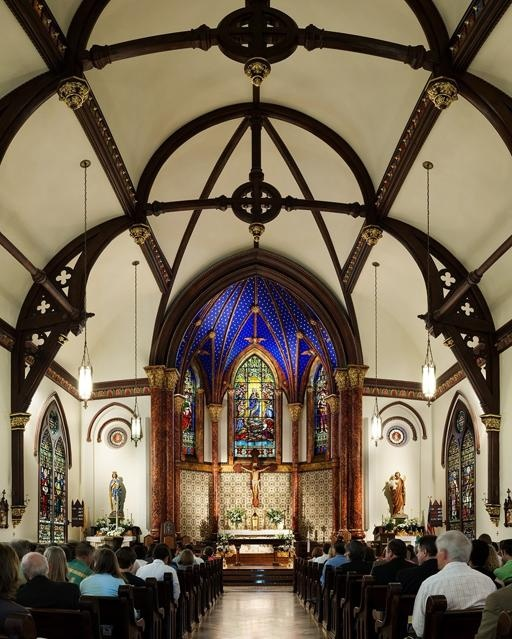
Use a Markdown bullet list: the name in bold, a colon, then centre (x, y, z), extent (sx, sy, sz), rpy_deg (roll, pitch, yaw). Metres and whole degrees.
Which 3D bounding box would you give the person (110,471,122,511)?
- **person**: centre (-3.695, 4.524, 18.444), extent (0.273, 1.034, 0.506), rpy_deg (2, -13, -12)

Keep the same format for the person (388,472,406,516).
- **person**: centre (3.683, 4.600, 18.425), extent (0.372, 1.118, 0.656), rpy_deg (-3, -13, 10)

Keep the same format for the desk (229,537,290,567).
- **desk**: centre (0.133, 7.095, 21.423), extent (1.881, 0.773, 1.984), rpy_deg (-1, -15, 1)
